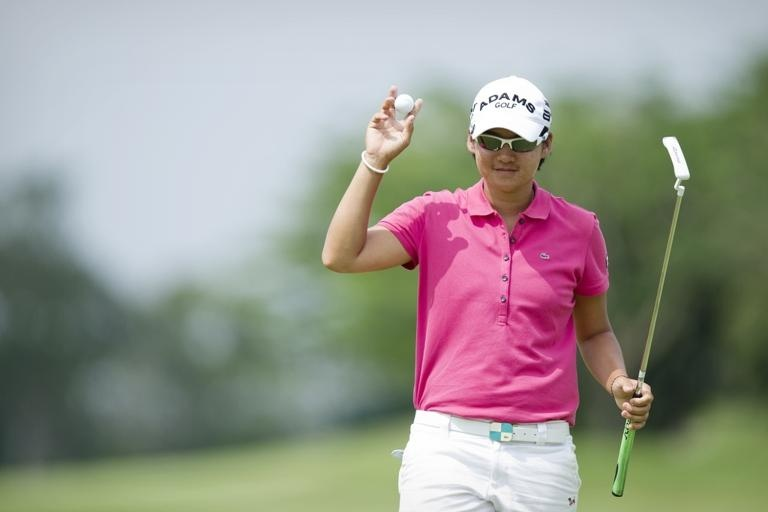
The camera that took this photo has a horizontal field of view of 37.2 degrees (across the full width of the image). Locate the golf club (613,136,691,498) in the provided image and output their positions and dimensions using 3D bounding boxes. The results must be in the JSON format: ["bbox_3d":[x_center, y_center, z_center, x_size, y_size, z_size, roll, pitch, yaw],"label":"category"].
[{"bbox_3d":[1.515,0.401,6.357,0.235,2.061,0.167,13,1,-2],"label":"golf club"}]

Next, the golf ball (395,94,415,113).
[{"bbox_3d":[0.106,-0.713,5.369,0.087,0.090,0.103,-4,50,-14],"label":"golf ball"}]

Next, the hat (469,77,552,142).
[{"bbox_3d":[0.581,-0.693,5.355,0.375,0.295,0.538,4,9,11],"label":"hat"}]

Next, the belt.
[{"bbox_3d":[0.500,0.774,5.221,0.705,0.148,0.114,1,7,2],"label":"belt"}]
